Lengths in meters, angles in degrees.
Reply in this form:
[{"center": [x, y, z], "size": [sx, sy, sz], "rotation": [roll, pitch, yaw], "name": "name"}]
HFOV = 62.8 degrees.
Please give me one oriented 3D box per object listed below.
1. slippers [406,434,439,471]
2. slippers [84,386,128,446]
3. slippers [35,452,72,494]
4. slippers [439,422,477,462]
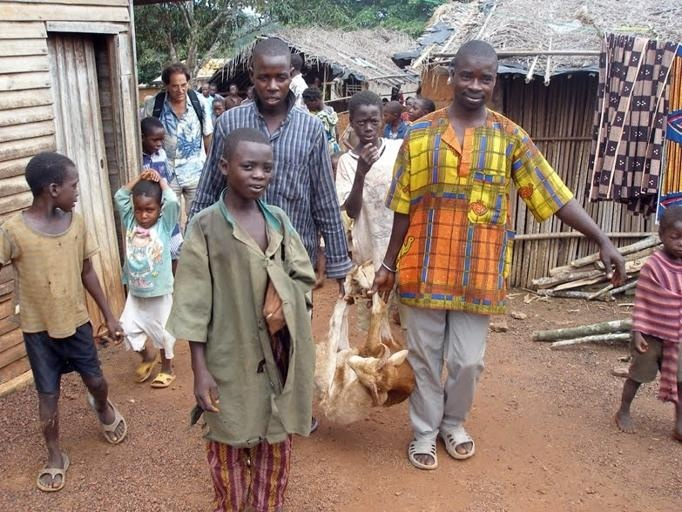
[{"center": [0.610, 1.443, 4.184], "size": [0.181, 0.136, 0.376], "rotation": [-1, 10, -2], "name": "slippers"}, {"center": [-1.847, 1.280, 4.432], "size": [0.494, 0.108, 0.175], "rotation": [31, 38, 33], "name": "slippers"}, {"center": [-2.100, 1.546, 4.028], "size": [0.179, 0.094, 0.436], "rotation": [7, 10, -29], "name": "slippers"}, {"center": [0.901, 1.391, 4.271], "size": [0.183, 0.134, 0.373], "rotation": [-17, 18, -6], "name": "slippers"}]
